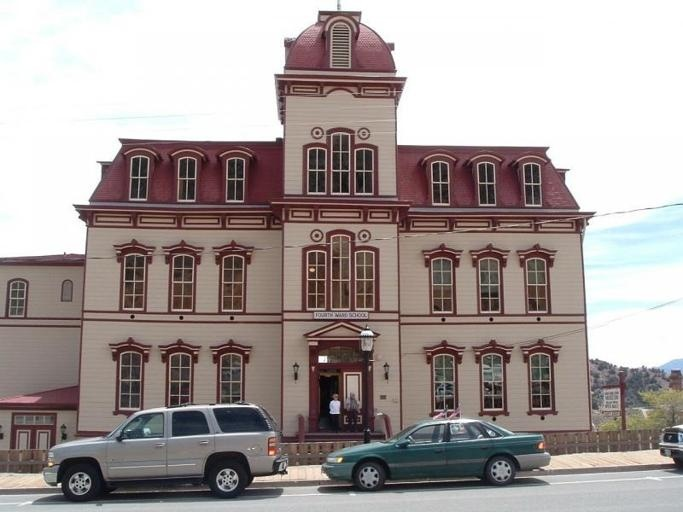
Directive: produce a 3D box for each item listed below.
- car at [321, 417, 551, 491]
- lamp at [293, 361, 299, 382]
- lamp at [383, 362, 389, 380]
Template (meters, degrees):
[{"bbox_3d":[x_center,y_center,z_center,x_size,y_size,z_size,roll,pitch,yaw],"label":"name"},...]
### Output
[{"bbox_3d":[3.126,6.771,33.003,7.182,1.549,2.732,0,-12,-1],"label":"car"},{"bbox_3d":[-1.791,4.839,40.662,0.282,0.745,0.210,-3,13,-20],"label":"lamp"},{"bbox_3d":[1.968,4.854,40.900,0.257,0.703,0.275,2,12,1],"label":"lamp"}]
